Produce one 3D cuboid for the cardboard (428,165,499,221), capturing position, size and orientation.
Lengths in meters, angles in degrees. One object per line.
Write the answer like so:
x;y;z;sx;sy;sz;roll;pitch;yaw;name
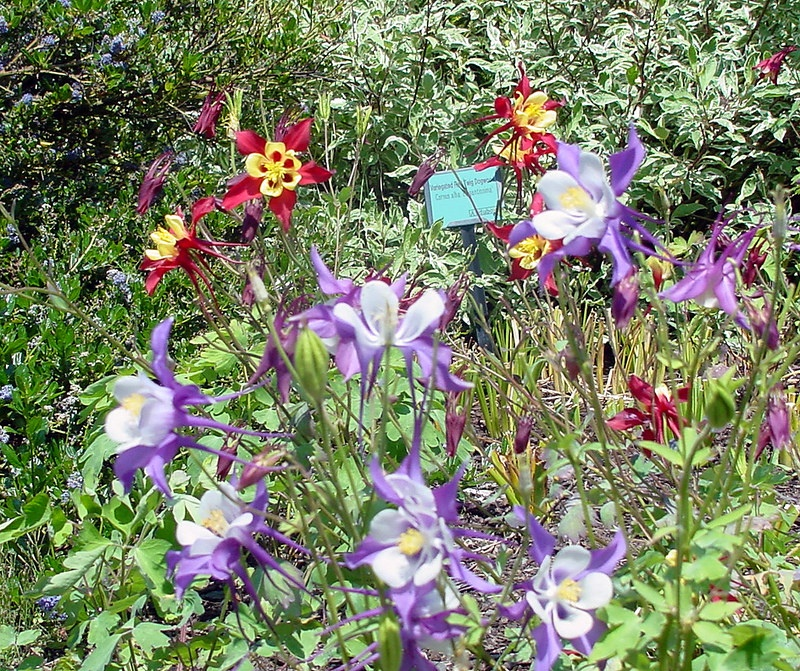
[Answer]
0.279;-0.621;3.505;0.276;0.033;0.261;-8;84;5;cardboard
